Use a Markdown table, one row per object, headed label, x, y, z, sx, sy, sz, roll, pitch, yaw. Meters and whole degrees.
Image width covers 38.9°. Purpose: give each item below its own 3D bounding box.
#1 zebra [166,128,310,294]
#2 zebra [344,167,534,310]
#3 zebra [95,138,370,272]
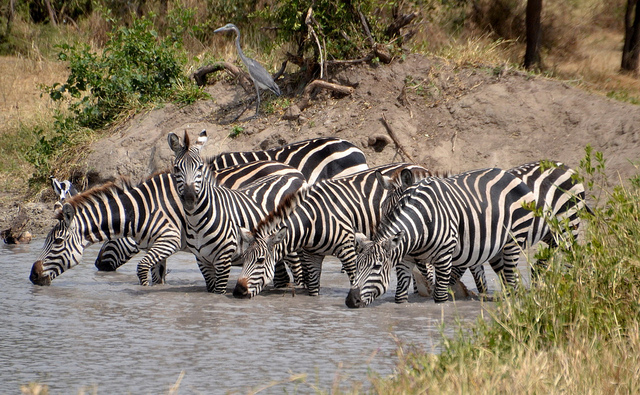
| label | x | y | z | sx | sy | sz | roll | pitch | yaw |
| --- | --- | --- | --- | --- | --- | --- | --- | --- | --- |
| zebra | -1.945 | 0.555 | 15.693 | 1.325 | 2.893 | 4.054 | 0 | -6 | 9 |
| zebra | 2.065 | 0.561 | 14.327 | 4.063 | 2.149 | 1.424 | -8 | 11 | -22 |
| zebra | -1.363 | 0.221 | 15.439 | 4.856 | 2.572 | 1.235 | -11 | 16 | -14 |
